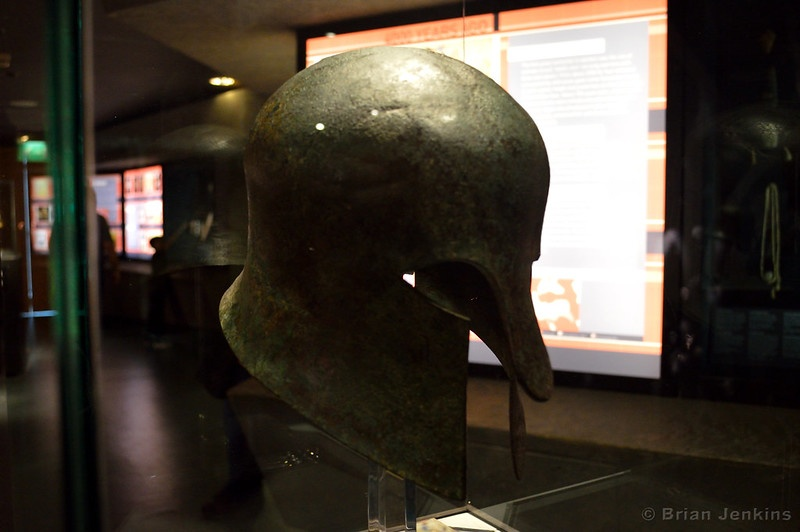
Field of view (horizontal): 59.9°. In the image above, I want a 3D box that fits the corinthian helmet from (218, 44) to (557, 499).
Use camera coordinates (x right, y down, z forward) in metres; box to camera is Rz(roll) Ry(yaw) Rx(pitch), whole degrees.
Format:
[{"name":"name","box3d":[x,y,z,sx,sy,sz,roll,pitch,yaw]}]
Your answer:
[{"name":"corinthian helmet","box3d":[-0.055,-0.048,1.862,0.768,1.085,0.771,0,17,-9]}]
